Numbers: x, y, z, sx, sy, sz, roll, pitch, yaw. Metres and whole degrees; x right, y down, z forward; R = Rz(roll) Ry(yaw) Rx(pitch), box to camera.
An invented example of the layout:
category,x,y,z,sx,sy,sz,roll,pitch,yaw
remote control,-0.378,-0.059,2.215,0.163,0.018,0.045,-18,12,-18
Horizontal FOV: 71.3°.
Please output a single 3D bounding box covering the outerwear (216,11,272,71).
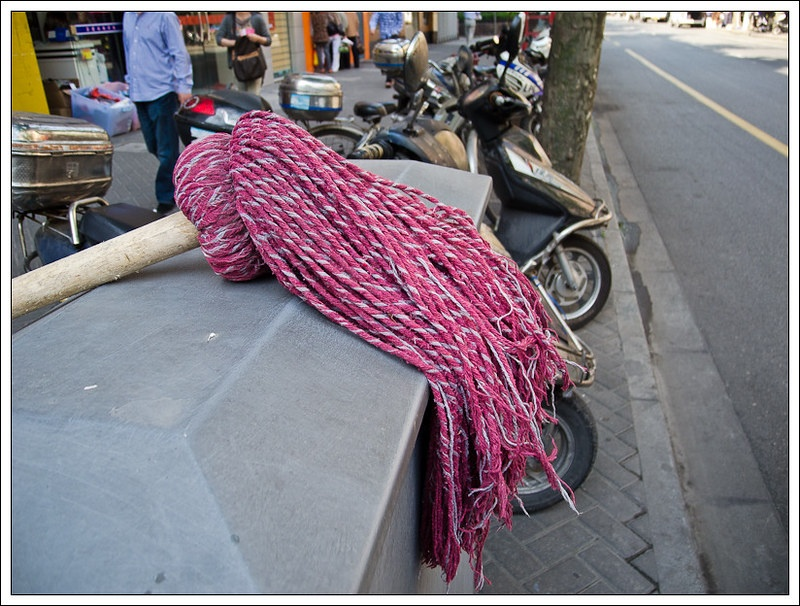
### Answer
category,x,y,z,sx,sy,sz,roll,pitch,yaw
outerwear,-2.010,-3.345,7.174,0.655,0.741,0.362,-1,24,-10
